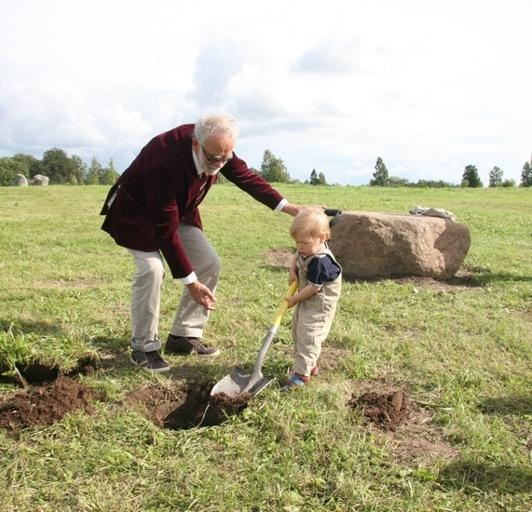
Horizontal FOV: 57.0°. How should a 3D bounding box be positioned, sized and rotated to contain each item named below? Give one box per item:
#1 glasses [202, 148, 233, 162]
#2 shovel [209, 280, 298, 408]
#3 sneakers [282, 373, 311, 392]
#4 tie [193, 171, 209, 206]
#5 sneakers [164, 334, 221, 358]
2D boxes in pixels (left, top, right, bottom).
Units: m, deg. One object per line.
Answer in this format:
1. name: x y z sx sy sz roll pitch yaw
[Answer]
1. glasses: -0.391 -0.792 3.919 0.237 0.101 0.129 -2 8 -43
2. shovel: -0.039 0.762 4.283 0.375 0.132 1.291 4 38 30
3. sneakers: 0.259 1.068 4.153 0.236 0.097 0.092 -6 -15 -46
4. tie: -0.572 -0.589 4.423 0.174 0.217 0.198 9 17 6
5. sneakers: -0.721 0.864 4.805 0.605 0.231 0.198 3 4 -5
